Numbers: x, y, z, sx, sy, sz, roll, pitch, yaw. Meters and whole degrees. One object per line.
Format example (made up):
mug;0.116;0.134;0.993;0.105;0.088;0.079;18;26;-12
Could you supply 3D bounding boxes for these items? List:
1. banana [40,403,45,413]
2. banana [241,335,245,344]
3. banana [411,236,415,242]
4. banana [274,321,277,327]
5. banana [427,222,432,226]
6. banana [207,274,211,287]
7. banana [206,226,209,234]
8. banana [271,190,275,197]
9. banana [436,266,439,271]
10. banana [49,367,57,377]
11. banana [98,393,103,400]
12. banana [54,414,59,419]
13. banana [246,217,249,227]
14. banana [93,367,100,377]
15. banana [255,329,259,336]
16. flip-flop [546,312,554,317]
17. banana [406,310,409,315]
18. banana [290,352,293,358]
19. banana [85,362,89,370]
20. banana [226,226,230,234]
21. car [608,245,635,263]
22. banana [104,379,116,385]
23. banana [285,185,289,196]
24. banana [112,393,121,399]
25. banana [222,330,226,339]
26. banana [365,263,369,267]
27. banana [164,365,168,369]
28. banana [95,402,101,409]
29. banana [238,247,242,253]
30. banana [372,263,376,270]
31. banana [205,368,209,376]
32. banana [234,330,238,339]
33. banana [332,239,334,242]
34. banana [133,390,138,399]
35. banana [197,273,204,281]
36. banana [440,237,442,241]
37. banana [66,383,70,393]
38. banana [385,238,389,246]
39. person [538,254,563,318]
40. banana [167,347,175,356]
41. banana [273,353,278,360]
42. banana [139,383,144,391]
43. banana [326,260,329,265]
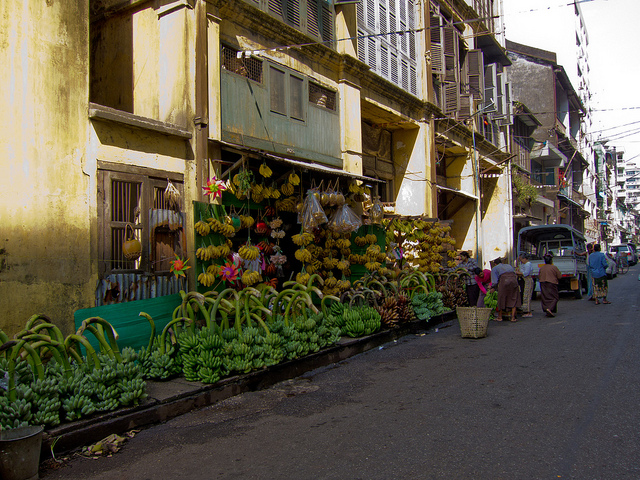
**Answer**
banana;-3.776;2.255;7.706;0.020;0.086;0.056;11;1;32
banana;-1.366;1.733;9.993;0.056;0.122;0.042;-2;4;-3
banana;3.186;-0.020;19.325;0.081;0.155;0.039;-4;4;-26
banana;-0.860;1.591;10.856;0.049;0.045;0.117;-4;5;-19
banana;3.840;-0.559;19.863;0.117;0.160;0.034;4;-40;-6
banana;-2.397;0.862;12.186;0.052;0.194;0.081;-4;11;28
banana;-2.431;-0.231;12.174;0.059;0.169;0.110;-1;7;17
banana;-1.149;-1.108;13.785;0.073;0.124;0.060;-2;4;-6
banana;4.056;0.965;19.521;0.033;0.159;0.214;1;5;29
banana;-3.935;1.914;8.341;0.083;0.161;0.039;17;46;44
banana;-3.164;2.231;8.158;0.064;0.101;0.043;-2;4;5
banana;-3.579;2.374;7.691;0.056;0.038;0.059;-26;-12;28
banana;-1.668;-0.423;13.147;0.018;0.174;0.049;2;5;42
banana;-3.285;1.925;8.318;0.042;0.155;0.021;-34;7;-4
banana;-1.148;1.654;10.277;0.030;0.115;0.074;3;-1;23
flip-flop;6.301;2.015;15.538;0.068;0.062;0.208;9;26;-48
banana;2.121;1.731;13.736;0.032;0.142;0.024;-14;43;-19
banana;-0.533;2.101;10.460;0.012;0.066;0.053;7;-5;-32
banana;-3.535;1.890;8.595;0.021;0.102;0.054;-12;-13;-2
banana;-2.029;-0.233;12.509;0.023;0.148;0.065;2;5;39
car;21.355;0.964;40.071;0.825;0.997;1.601;-1;9;28
banana;-3.103;2.084;8.372;0.143;0.037;0.041;-30;-27;-4
banana;-0.803;-1.231;14.006;0.044;0.224;0.054;-19;1;6
banana;-2.988;2.266;8.306;0.032;0.061;0.112;1;6;34
banana;-1.709;1.669;10.129;0.057;0.108;0.025;-3;1;1
banana;1.371;0.714;16.587;0.078;0.102;0.022;1;2;2
banana;-2.600;2.113;9.549;0.042;0.072;0.034;2;0;-20
banana;-3.172;2.335;8.075;0.057;0.069;0.017;7;-6;11
banana;-1.837;0.221;13.013;0.056;0.123;0.024;5;1;-1
banana;1.577;0.756;16.664;0.093;0.163;0.046;-17;11;-1
banana;-1.850;2.143;9.256;0.061;0.111;0.022;-3;4;-14
banana;-1.521;1.676;10.286;0.055;0.123;0.205;-2;4;-4
banana;0.352;0.007;15.586;0.065;0.029;0.096;-27;-2;3
banana;-2.713;2.241;8.326;0.018;0.091;0.051;6;5;30
banana;-2.565;0.777;12.174;0.076;0.166;0.055;32;-17;4
banana;4.315;-0.061;20.255;0.056;0.128;0.113;-2;-2;22
banana;-3.563;2.069;8.020;0.027;0.107;0.047;5;13;29
banana;2.172;0.053;18.377;0.044;0.224;0.207;2;-8;27
person;6.402;1.270;15.783;0.547;1.619;1.170;0;5;23
banana;-2.556;1.893;9.752;0.130;0.072;0.033;-51;25;-19
banana;-0.790;2.053;10.064;0.054;0.095;0.045;14;-8;-17
banana;-2.660;2.161;8.452;0.025;0.090;0.089;-1;5;16
banana;0.195;0.601;15.265;0.024;0.109;0.092;-1;4;44
